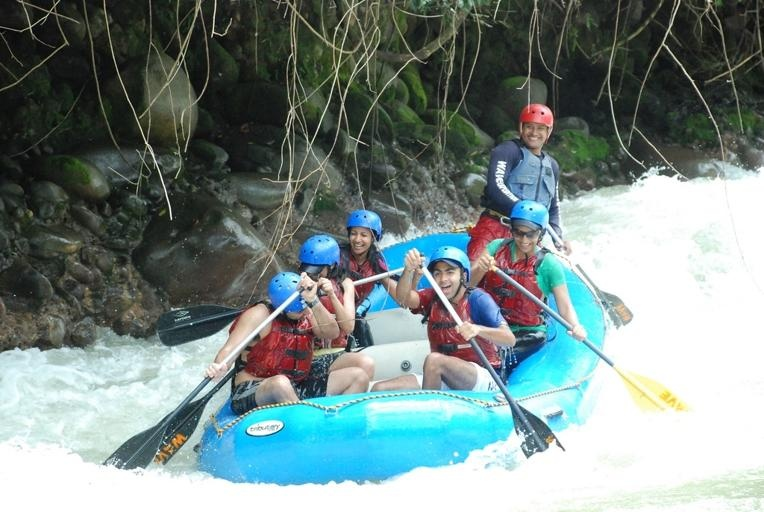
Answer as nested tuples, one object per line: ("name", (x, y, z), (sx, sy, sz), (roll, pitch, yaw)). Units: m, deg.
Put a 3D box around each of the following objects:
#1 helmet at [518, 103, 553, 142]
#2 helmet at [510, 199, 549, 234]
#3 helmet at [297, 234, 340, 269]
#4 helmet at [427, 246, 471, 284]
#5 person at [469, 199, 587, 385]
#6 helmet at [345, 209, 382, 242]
("helmet", (1.696, -1.500, 7.600), (0.297, 0.401, 0.392), (9, -15, 5))
("helmet", (1.419, -0.400, 6.732), (0.232, 0.346, 0.270), (6, 60, 20))
("helmet", (-0.588, 0.003, 6.834), (0.410, 0.364, 0.308), (-4, 8, -44))
("helmet", (0.642, 0.044, 6.611), (0.259, 0.302, 0.389), (2, 23, 2))
("person", (1.393, 0.407, 6.843), (1.109, 1.747, 0.865), (20, 14, 20))
("helmet", (-0.182, -0.344, 7.399), (0.285, 0.350, 0.380), (10, 14, 11))
